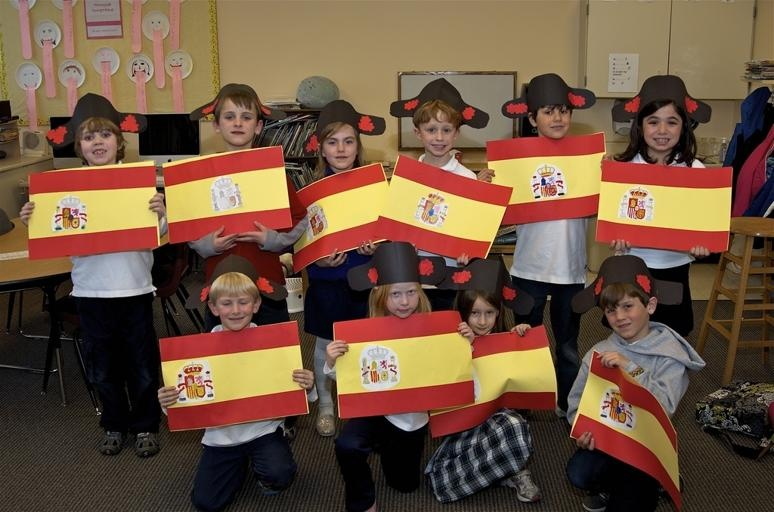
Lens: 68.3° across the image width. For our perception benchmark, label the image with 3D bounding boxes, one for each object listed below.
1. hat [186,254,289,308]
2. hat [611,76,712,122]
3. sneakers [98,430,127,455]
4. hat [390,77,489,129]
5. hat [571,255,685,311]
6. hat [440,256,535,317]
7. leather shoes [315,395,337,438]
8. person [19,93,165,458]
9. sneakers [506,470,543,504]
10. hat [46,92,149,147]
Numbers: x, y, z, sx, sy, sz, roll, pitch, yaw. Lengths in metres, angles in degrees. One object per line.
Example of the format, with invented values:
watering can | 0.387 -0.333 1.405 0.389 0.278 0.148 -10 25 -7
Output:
hat | -0.770 0.074 2.945 0.375 0.177 0.293 -7 14 -28
hat | 1.560 -0.909 3.245 0.424 0.142 0.341 -2 16 7
sneakers | -1.577 1.074 3.255 0.095 0.068 0.167 3 27 -8
hat | 0.301 -0.918 3.414 0.391 0.177 0.397 2 2 -13
hat | 1.249 0.121 2.960 0.420 0.185 0.332 7 28 26
hat | 0.538 0.151 3.176 0.765 0.266 0.206 12 -3 -12
leather shoes | -0.357 0.981 3.377 0.084 0.096 0.237 -1 8 -2
person | -1.547 0.113 3.199 0.620 1.981 0.582 11 20 38
sneakers | 0.697 1.164 2.941 0.092 0.093 0.198 -10 20 -38
hat | -1.652 -0.796 3.249 0.404 0.181 0.380 3 19 30
